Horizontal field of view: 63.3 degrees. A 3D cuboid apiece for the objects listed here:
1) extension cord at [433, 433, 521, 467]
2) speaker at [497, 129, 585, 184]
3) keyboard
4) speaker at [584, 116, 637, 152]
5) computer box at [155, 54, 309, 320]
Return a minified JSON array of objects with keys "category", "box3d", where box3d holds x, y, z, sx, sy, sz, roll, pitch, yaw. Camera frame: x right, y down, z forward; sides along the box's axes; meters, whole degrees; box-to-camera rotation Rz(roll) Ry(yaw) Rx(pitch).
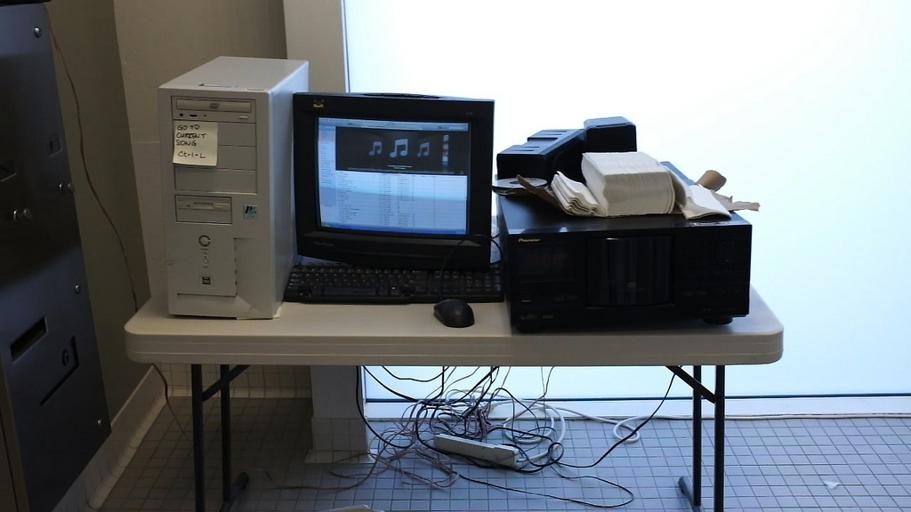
[{"category":"extension cord","box3d":[0.093,0.973,3.710,0.426,0.103,0.055,9,8,17]},{"category":"speaker","box3d":[0.283,-0.501,3.471,0.580,0.227,0.523,1,22,-2]},{"category":"keyboard","box3d":[-0.292,0.106,3.149,0.904,0.084,0.358,-2,28,-4]},{"category":"speaker","box3d":[0.730,-0.503,3.435,0.218,0.174,0.209,-3,-21,18]},{"category":"computer box","box3d":[-0.866,-0.272,3.093,0.555,1.001,0.519,2,3,0]}]
